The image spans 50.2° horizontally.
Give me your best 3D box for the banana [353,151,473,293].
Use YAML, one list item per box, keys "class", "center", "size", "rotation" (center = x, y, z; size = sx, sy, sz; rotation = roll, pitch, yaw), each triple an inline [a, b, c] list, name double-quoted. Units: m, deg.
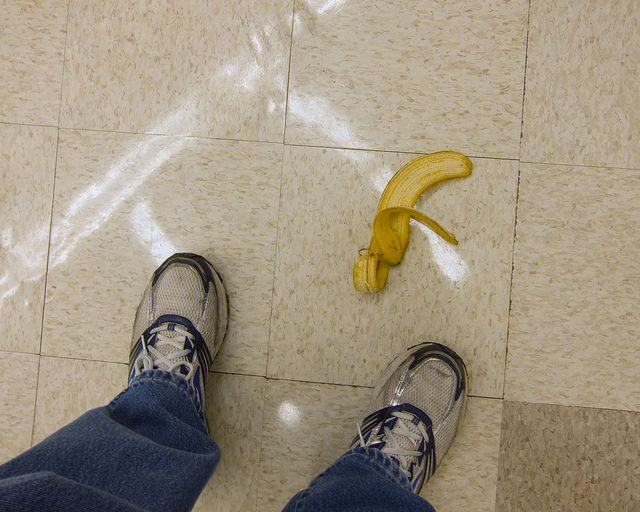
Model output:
- class: "banana"
  center: [0.216, -0.095, 1.720]
  size: [0.208, 0.131, 0.400]
  rotation: [33, 100, 7]
